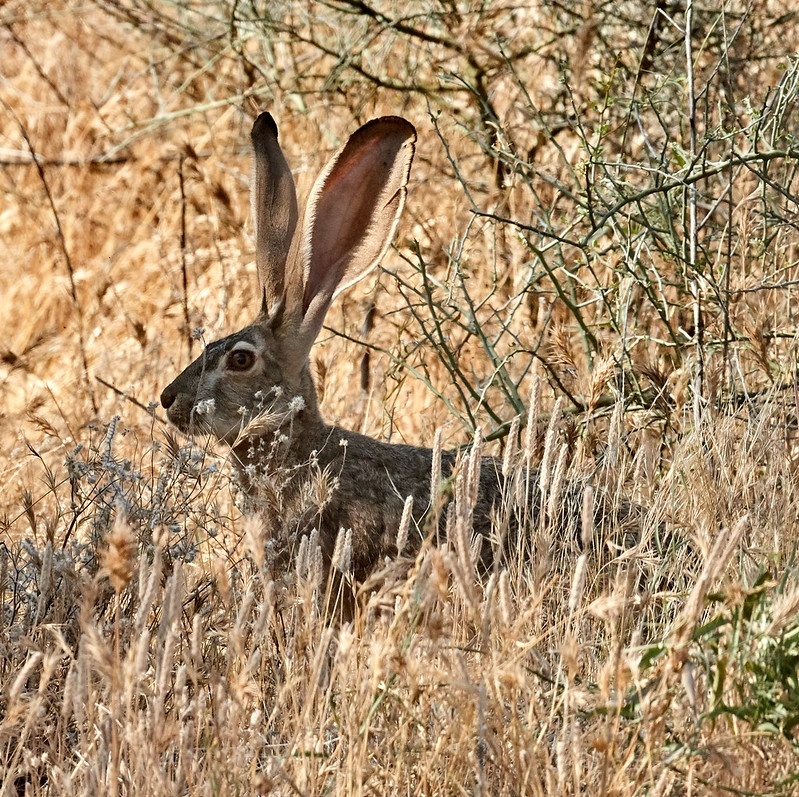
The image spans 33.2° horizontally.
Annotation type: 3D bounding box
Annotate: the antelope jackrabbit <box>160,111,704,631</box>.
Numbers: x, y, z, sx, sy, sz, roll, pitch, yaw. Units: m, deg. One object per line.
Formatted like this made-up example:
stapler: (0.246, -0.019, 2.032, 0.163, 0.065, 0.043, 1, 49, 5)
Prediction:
antelope jackrabbit: (-0.118, -0.147, 4.725, 1.307, 1.821, 1.146, -4, -17, 42)
